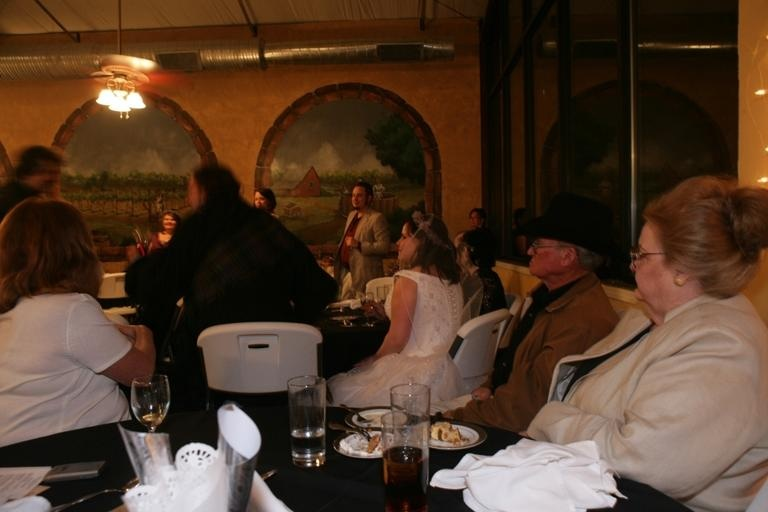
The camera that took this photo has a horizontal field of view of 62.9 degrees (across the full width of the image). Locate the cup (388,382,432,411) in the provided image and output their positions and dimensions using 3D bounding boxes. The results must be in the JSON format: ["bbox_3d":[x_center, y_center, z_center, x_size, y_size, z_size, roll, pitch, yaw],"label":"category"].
[{"bbox_3d":[0.084,0.459,2.080,0.092,0.068,0.095,0,-9,0],"label":"cup"}]

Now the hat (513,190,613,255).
[{"bbox_3d":[0.878,-0.148,3.073,0.304,0.153,0.342,14,9,-46],"label":"hat"}]

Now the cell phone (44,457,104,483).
[{"bbox_3d":[-1.036,0.689,2.077,0.108,0.109,0.080,-2,11,-3],"label":"cell phone"}]
